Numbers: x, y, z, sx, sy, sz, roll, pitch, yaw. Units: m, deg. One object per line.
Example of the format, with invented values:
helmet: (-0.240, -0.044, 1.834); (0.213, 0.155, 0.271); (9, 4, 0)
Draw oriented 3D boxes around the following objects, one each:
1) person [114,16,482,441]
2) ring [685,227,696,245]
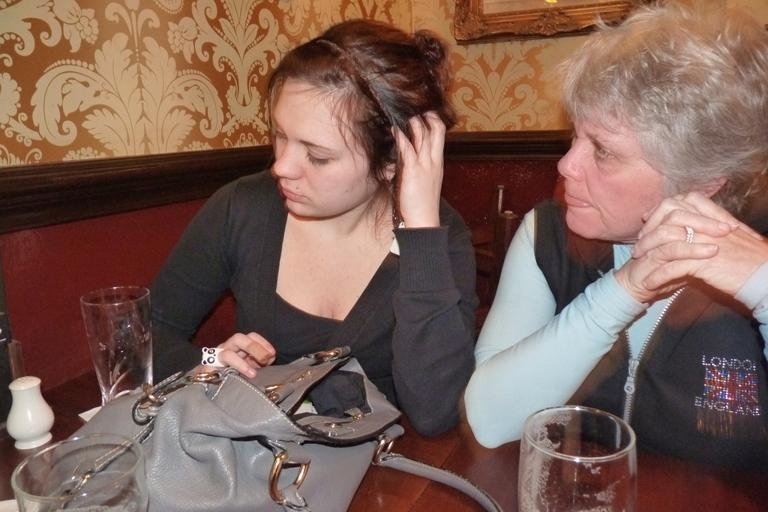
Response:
person: (-0.225, -0.004, 1.671); (0.924, 1.161, 0.729); (2, 25, -3)
ring: (0.676, -0.046, 1.287); (0.017, 0.042, 0.011); (10, -6, -10)
